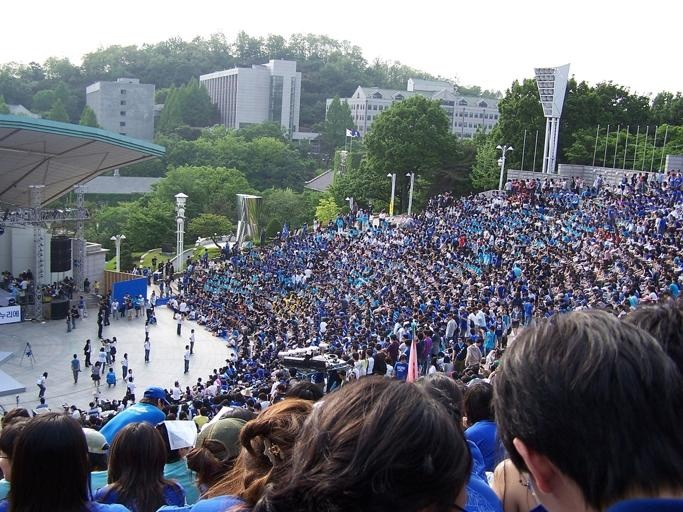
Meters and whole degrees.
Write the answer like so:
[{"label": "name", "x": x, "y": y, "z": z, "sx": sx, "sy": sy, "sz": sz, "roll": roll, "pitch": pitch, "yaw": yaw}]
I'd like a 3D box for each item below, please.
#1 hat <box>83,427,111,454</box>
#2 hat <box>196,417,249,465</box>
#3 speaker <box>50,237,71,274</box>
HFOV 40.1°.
[{"label": "hat", "x": -2.824, "y": 2.156, "z": 10.787, "sx": 0.263, "sy": 0.271, "sz": 0.340, "roll": 0, "pitch": 5, "yaw": -16}, {"label": "hat", "x": -1.307, "y": 1.987, "z": 10.107, "sx": 0.506, "sy": 0.324, "sz": 0.712, "roll": 1, "pitch": 5, "yaw": -7}, {"label": "speaker", "x": -12.416, "y": -0.082, "z": 40.473, "sx": 0.727, "sy": 1.484, "sz": 1.449, "roll": 8, "pitch": 9, "yaw": 40}]
